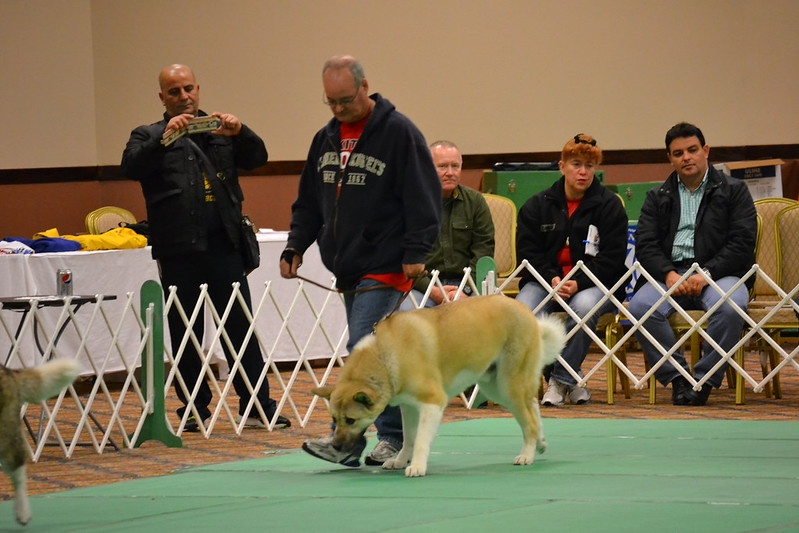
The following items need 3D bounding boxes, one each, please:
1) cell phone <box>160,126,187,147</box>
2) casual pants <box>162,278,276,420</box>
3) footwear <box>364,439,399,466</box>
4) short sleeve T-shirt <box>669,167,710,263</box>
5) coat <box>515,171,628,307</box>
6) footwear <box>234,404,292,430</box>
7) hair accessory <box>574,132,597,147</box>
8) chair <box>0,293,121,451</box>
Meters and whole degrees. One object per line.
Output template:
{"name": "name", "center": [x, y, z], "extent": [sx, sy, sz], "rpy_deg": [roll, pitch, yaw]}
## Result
{"name": "cell phone", "center": [-1.575, -0.909, 6.094], "extent": [0.134, 0.045, 0.138], "rpy_deg": [-31, -7, -5]}
{"name": "casual pants", "center": [-1.428, 0.660, 6.760], "extent": [1.207, 1.357, 0.071], "rpy_deg": [3, -26, -47]}
{"name": "footwear", "center": [-0.112, 1.134, 5.297], "extent": [0.242, 0.101, 0.107], "rpy_deg": [-2, -4, -41]}
{"name": "short sleeve T-shirt", "center": [2.404, -0.394, 7.250], "extent": [0.370, 0.675, 0.181], "rpy_deg": [2, 4, 34]}
{"name": "coat", "center": [1.545, -0.220, 7.740], "extent": [1.139, 1.339, 0.900], "rpy_deg": [0, -2, 14]}
{"name": "footwear", "center": [-1.009, 1.147, 6.668], "extent": [0.431, 0.296, 0.161], "rpy_deg": [-5, -5, 14]}
{"name": "hair accessory", "center": [1.610, -1.085, 7.368], "extent": [0.201, 0.071, 0.153], "rpy_deg": [15, -9, -37]}
{"name": "chair", "center": [-2.428, 0.719, 6.637], "extent": [1.090, 1.250, 1.100], "rpy_deg": [0, 2, 2]}
